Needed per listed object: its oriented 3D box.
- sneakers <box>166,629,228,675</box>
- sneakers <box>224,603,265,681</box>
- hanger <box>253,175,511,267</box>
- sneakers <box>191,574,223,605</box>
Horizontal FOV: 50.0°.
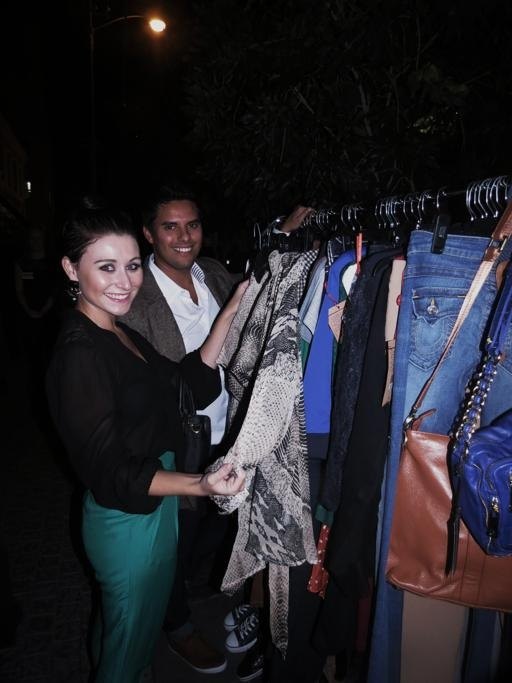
[{"bbox_3d":[-0.245,1.199,2.175,0.106,0.118,0.279,-4,-1,-41],"label":"sneakers"},{"bbox_3d":[-0.043,1.185,2.191,0.106,0.130,0.324,16,-7,16],"label":"sneakers"},{"bbox_3d":[0.342,-0.335,1.590,0.369,0.180,0.976,-4,11,-32],"label":"hanger"},{"bbox_3d":[-0.244,1.156,2.562,0.092,0.126,0.048,2,-12,-4],"label":"sneakers"}]
